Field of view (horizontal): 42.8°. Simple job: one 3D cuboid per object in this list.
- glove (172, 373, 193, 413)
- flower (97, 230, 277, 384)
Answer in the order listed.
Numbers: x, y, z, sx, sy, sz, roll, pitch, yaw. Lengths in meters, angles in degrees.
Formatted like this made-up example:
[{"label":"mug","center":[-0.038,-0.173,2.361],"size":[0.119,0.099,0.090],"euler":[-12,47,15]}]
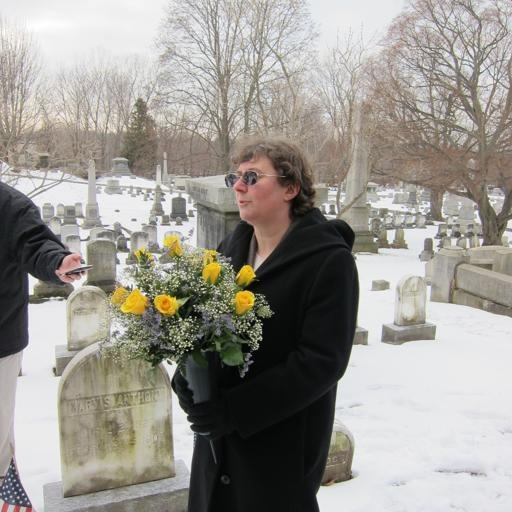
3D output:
[{"label":"glove","center":[-0.362,0.662,3.175],"size":[0.057,0.176,0.131],"euler":[-19,-2,-38]},{"label":"flower","center":[-0.347,0.278,3.107],"size":[0.672,0.652,0.662],"euler":[0,-19,-7]}]
